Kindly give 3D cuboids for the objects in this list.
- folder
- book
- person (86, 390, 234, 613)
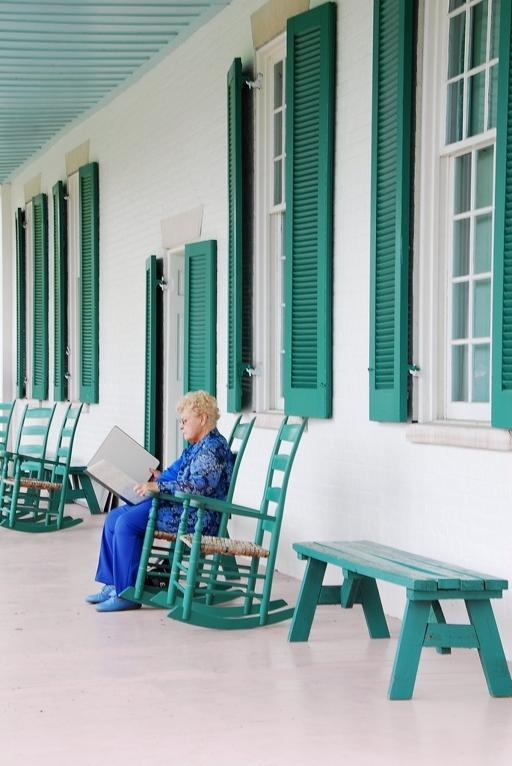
[{"bbox_3d":[-0.697,0.421,3.796,0.375,0.397,0.099,43,-38,-20],"label":"folder"},{"bbox_3d":[-0.702,0.416,3.792,0.264,0.472,0.336,-1,3,-29],"label":"book"},{"bbox_3d":[-0.503,0.716,4.198,0.809,1.966,0.693,4,-9,-13],"label":"person"}]
